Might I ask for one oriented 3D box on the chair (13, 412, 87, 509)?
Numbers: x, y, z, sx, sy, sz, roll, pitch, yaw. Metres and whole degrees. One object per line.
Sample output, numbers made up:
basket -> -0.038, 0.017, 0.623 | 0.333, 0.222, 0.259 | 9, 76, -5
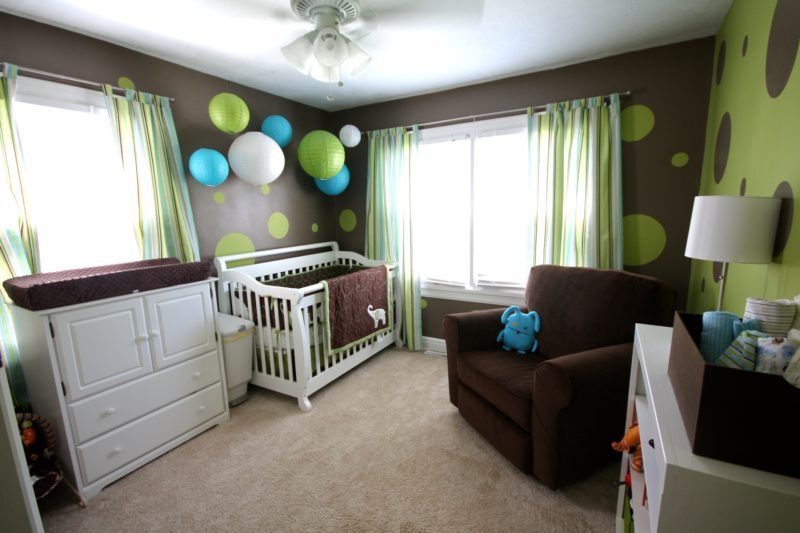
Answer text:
chair -> -2.353, 1.283, 3.604 | 0.476, 0.642, 0.228 | 6, 14, 40

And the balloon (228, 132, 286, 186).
balloon -> -1.191, -0.862, 4.600 | 0.423, 0.433, 0.251 | 37, 7, 3

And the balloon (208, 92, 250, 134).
balloon -> -1.389, -1.265, 4.375 | 0.318, 0.392, 0.311 | 9, 17, 20

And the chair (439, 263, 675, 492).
chair -> 1.177, 0.718, 4.135 | 1.282, 1.429, 1.475 | -3, 11, -20

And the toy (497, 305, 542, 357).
toy -> 0.923, 0.514, 4.169 | 0.310, 0.364, 0.151 | 4, -11, 35

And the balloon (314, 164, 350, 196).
balloon -> -0.655, -0.797, 5.332 | 0.312, 0.375, 0.318 | 1, 1, -20

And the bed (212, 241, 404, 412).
bed -> -0.734, 0.428, 5.075 | 1.022, 1.218, 1.578 | 5, 12, 36

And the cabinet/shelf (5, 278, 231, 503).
cabinet/shelf -> -2.050, 0.743, 4.109 | 0.741, 1.458, 1.216 | 17, 23, 36
